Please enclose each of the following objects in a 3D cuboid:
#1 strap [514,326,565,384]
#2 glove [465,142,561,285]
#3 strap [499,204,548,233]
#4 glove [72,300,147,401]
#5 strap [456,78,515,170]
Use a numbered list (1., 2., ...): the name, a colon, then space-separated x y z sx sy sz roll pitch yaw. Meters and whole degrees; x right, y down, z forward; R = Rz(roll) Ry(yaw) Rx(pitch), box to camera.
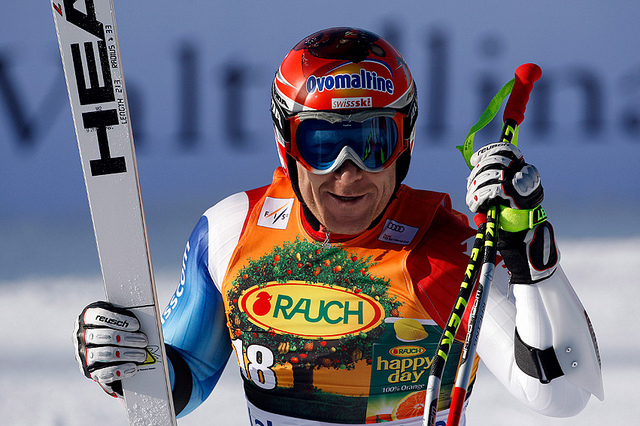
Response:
1. strap: 1.236 0.834 5.740 0.207 0.309 0.155 -3 19 19
2. glove: 1.105 -0.019 5.732 0.306 0.820 0.505 -14 20 -29
3. strap: 1.156 0.023 5.749 0.199 0.113 0.157 1 4 15
4. glove: -1.233 0.773 5.914 0.361 0.540 0.255 -2 16 -4
5. strap: 0.961 -0.541 5.949 0.278 0.568 0.143 40 -8 -31
